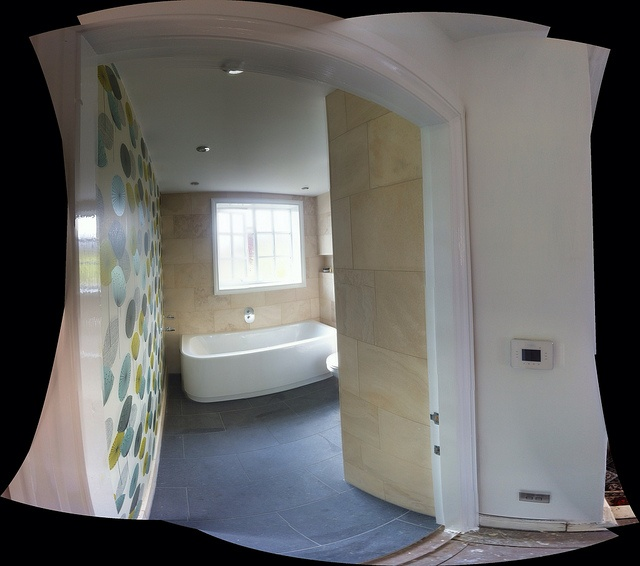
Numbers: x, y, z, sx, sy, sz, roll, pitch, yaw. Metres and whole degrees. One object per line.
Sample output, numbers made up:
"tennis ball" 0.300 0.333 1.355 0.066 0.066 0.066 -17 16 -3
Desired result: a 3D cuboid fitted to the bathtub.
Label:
"bathtub" -0.410 0.526 3.598 1.174 0.315 0.923 -3 5 -19
